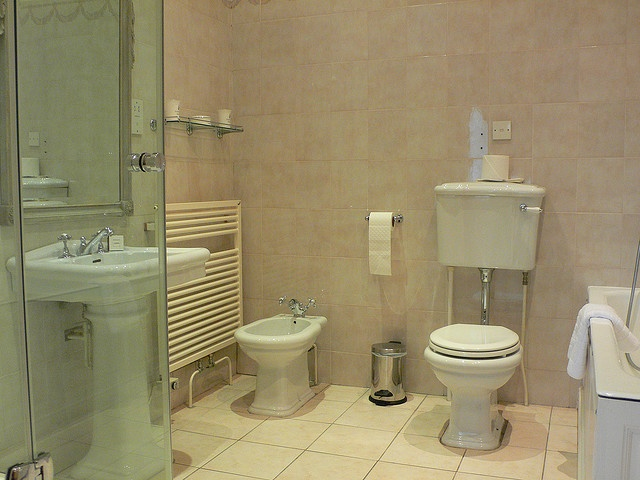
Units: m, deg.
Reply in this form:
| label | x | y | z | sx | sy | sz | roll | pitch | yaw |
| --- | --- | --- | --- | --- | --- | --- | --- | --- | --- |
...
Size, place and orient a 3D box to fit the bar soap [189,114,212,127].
| label | x | y | z | sx | sy | sz | roll | pitch | yaw |
| --- | --- | --- | --- | --- | --- | --- | --- | --- | --- |
| bar soap | -0.696 | -0.706 | 3.170 | 0.085 | 0.071 | 0.166 | 2 | 10 | 24 |

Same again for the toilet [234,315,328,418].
| label | x | y | z | sx | sy | sz | roll | pitch | yaw |
| --- | --- | --- | --- | --- | --- | --- | --- | --- | --- |
| toilet | -0.226 | 0.731 | 3.190 | 0.418 | 0.494 | 0.523 | 1 | 10 | 18 |

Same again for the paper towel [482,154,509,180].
| label | x | y | z | sx | sy | sz | roll | pitch | yaw |
| --- | --- | --- | --- | --- | --- | --- | --- | --- | --- |
| paper towel | 0.973 | -0.405 | 2.982 | 0.140 | 0.152 | 0.137 | -4 | 10 | -38 |

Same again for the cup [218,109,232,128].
| label | x | y | z | sx | sy | sz | roll | pitch | yaw |
| --- | --- | --- | --- | --- | --- | --- | --- | --- | --- |
| cup | -0.583 | -0.753 | 3.349 | 0.120 | 0.122 | 0.099 | 1 | 0 | -2 |

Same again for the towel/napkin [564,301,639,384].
| label | x | y | z | sx | sy | sz | roll | pitch | yaw |
| --- | --- | --- | --- | --- | --- | --- | --- | --- | --- |
| towel/napkin | 1.066 | 0.358 | 2.129 | 0.289 | 0.292 | 0.308 | -2 | 9 | 11 |

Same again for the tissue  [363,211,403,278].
| label | x | y | z | sx | sy | sz | roll | pitch | yaw |
| --- | --- | --- | --- | --- | --- | --- | --- | --- | --- |
| tissue  | 0.397 | 0.029 | 3.273 | 0.228 | 0.400 | 0.158 | -1 | 9 | 7 |

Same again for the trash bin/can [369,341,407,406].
| label | x | y | z | sx | sy | sz | roll | pitch | yaw |
| --- | --- | --- | --- | --- | --- | --- | --- | --- | --- |
| trash bin/can | 0.402 | 0.811 | 3.288 | 0.218 | 0.302 | 0.293 | 1 | -3 | 24 |

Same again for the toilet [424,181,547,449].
| label | x | y | z | sx | sy | sz | roll | pitch | yaw |
| --- | --- | --- | --- | --- | --- | --- | --- | --- | --- |
| toilet | 0.855 | 0.355 | 2.826 | 0.569 | 1.311 | 0.806 | 2 | 10 | 22 |
